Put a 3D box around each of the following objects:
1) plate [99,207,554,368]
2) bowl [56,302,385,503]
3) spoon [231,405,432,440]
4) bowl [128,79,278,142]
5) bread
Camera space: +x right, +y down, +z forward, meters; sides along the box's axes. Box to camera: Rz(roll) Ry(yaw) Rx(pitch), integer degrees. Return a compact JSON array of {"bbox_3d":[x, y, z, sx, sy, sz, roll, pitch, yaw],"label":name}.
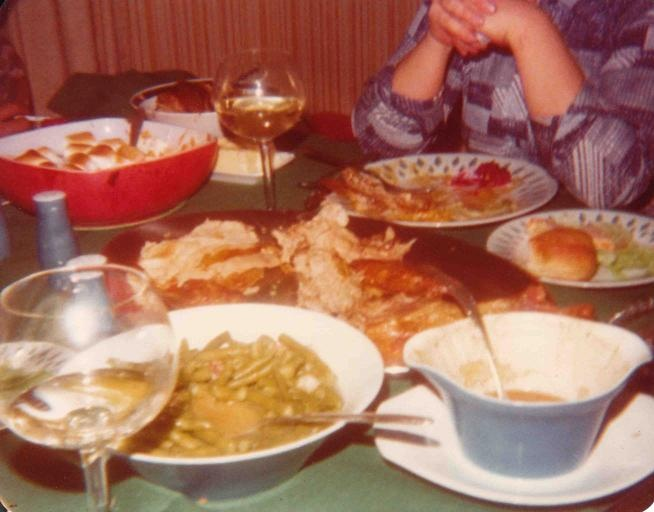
[{"bbox_3d":[0.012,0.023,0.788,0.357,0.046,0.272,8,22,11],"label":"plate"},{"bbox_3d":[-0.068,0.129,0.585,0.195,0.059,0.186,0,22,0],"label":"bowl"},{"bbox_3d":[-0.003,0.157,0.575,0.207,0.018,0.027,-4,15,7],"label":"spoon"},{"bbox_3d":[-0.327,-0.362,1.471,0.263,0.077,0.255,1,26,-1],"label":"bowl"},{"bbox_3d":[0.329,-0.007,0.866,0.089,0.037,0.080,-13,39,-16],"label":"bread"}]
